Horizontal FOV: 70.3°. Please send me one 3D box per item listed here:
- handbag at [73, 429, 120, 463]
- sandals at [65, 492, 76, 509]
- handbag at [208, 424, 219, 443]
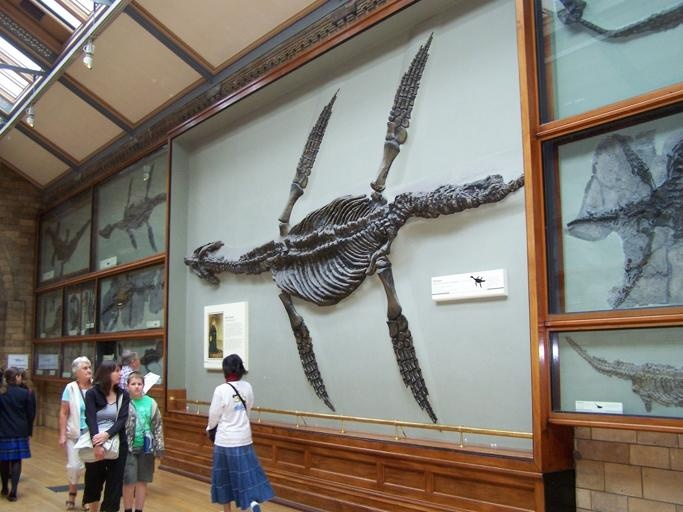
[{"bbox_3d":[-2.693,2.124,5.373,0.351,0.404,0.138,-2,10,4],"label":"handbag"},{"bbox_3d":[-4.002,3.599,7.146,0.137,0.184,0.477,4,-18,-19],"label":"sandals"},{"bbox_3d":[-1.581,2.223,6.046,0.133,0.172,0.181,4,-13,-9],"label":"handbag"}]
